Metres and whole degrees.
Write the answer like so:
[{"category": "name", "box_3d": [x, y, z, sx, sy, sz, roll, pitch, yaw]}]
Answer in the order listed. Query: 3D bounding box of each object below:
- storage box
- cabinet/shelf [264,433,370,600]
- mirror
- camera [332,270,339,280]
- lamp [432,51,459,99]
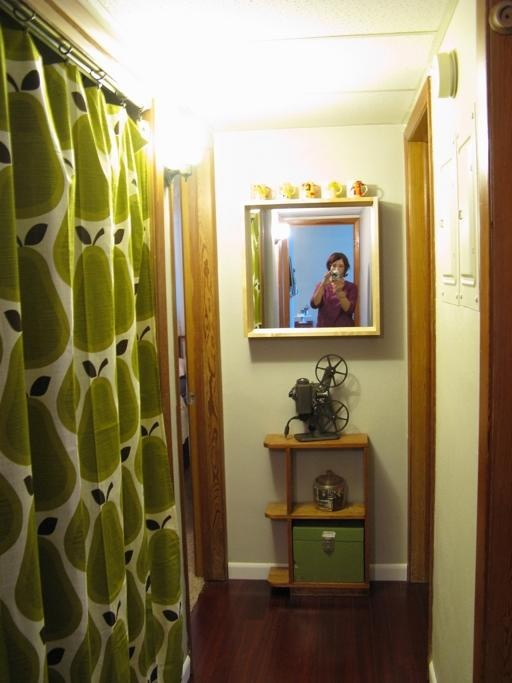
[{"category": "storage box", "box_3d": [0.353, 1.018, 2.699, 0.293, 0.399, 0.235, 0, 5, 5]}, {"category": "cabinet/shelf", "box_3d": [0.297, 1.060, 2.871, 0.551, 0.430, 0.945, 1, 29, 3]}, {"category": "mirror", "box_3d": [0.291, -0.389, 2.791, 0.445, 0.672, 0.046, -1, 5, 2]}, {"category": "camera", "box_3d": [0.393, -0.326, 2.798, 0.033, 0.067, 0.029, 0, -7, 5]}, {"category": "lamp", "box_3d": [0.536, -0.745, 1.615, 0.083, 0.131, 0.111, -2, 11, -1]}]
